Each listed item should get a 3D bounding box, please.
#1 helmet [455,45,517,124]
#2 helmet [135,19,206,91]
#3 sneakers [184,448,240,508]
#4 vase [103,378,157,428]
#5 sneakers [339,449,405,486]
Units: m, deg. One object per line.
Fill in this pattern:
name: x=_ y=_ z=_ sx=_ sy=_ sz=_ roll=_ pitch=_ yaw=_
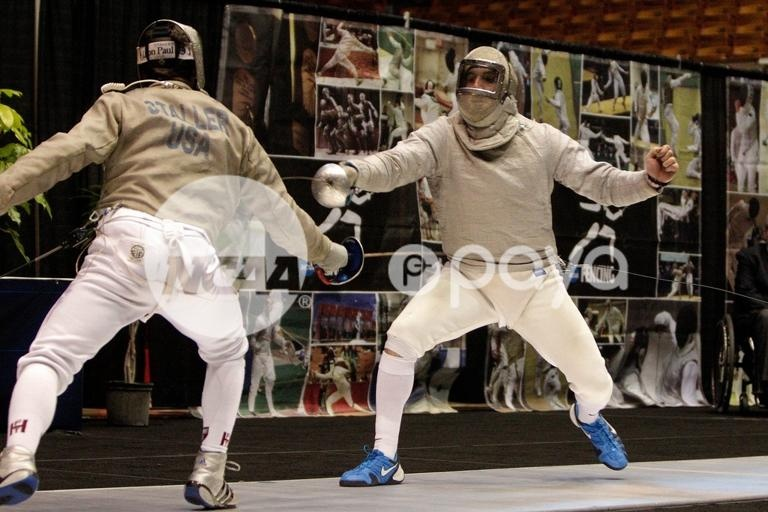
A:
helmet: x=0.460 y=-0.775 z=3.852 sx=0.271 sy=0.346 sz=0.355 roll=1 pitch=4 yaw=21
helmet: x=-0.817 y=-0.808 z=3.420 sx=0.225 sy=0.269 sz=0.297 roll=1 pitch=3 yaw=6
sneakers: x=-0.595 y=0.850 z=3.173 sx=0.119 sy=0.205 sz=0.299 roll=-2 pitch=-17 yaw=34
vase: x=-1.668 y=0.973 z=5.574 sx=0.293 sy=0.206 sz=0.282 roll=2 pitch=-9 yaw=1
sneakers: x=-0.041 y=0.927 z=3.735 sx=0.325 sy=0.155 sz=0.116 roll=1 pitch=-5 yaw=-20
